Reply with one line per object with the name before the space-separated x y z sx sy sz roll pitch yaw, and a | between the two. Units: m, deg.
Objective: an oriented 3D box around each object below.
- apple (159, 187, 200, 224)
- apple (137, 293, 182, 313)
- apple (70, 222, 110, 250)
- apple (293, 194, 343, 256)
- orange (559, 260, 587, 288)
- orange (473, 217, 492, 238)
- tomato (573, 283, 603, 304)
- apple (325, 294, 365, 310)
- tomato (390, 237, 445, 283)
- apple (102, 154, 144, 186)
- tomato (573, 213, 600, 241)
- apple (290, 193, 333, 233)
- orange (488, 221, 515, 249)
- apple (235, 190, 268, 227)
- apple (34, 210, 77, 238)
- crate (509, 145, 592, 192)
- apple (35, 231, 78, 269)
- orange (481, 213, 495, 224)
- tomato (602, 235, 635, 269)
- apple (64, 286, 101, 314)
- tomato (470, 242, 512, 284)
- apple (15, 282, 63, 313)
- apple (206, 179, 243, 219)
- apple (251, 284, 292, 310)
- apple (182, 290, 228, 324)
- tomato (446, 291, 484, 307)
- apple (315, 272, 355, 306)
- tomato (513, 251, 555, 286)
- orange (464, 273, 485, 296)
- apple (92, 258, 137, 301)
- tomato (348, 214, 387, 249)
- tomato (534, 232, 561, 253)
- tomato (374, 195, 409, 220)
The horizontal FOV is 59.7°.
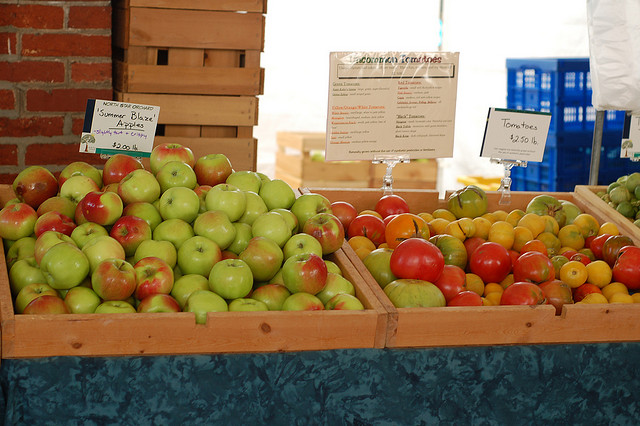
apple | -0.548 -0.033 2.176 0.127 0.141 0.136 0 9 -4
apple | -0.546 0.308 1.888 0.134 0.056 0.098 -5 11 -38
apple | -0.882 0.075 2.139 0.102 0.120 0.104 -21 51 -23
apple | -0.015 0.051 2.383 0.171 0.181 0.346 -6 40 -11
orange | 1.048 0.252 2.304 0.099 0.105 0.100 -24 -10 16
orange | 0.754 0.070 2.591 0.082 0.093 0.087 3 -10 0
tomato | 1.087 0.323 2.280 0.082 0.086 0.085 2 -19 -29
apple | 0.086 0.319 1.960 0.137 0.055 0.066 3 9 5
tomato | 0.364 0.178 2.088 0.164 0.169 0.167 2 24 -3
apple | -0.880 -0.208 2.420 0.136 0.143 0.135 36 12 12
tomato | 1.309 0.062 2.770 0.115 0.121 0.119 36 6 29
apple | -0.032 -0.021 2.389 0.147 0.193 0.164 2 36 1
orange | 0.831 0.106 2.545 0.113 0.117 0.086 5 9 19
apple | -0.273 -0.018 2.297 0.142 0.136 0.130 -7 25 12
apple | -1.023 0.027 2.138 0.106 0.116 0.112 -3 24 -18
crate | 1.945 -0.362 4.746 0.567 0.390 0.606 1 12 11
apple | -0.972 0.121 2.063 0.128 0.146 0.136 0 -17 0
orange | 0.829 0.029 2.741 0.040 0.054 0.043 -3 3 5
tomato | 1.316 0.170 2.469 0.123 0.136 0.130 -2 -3 18
apple | -0.808 0.298 1.892 0.098 0.089 0.090 4 49 12
tomato | 0.697 0.195 2.301 0.162 0.176 0.153 -4 -3 45
apple | -0.976 0.285 1.950 0.104 0.111 0.111 -2 -34 4
apple | -0.389 -0.024 2.280 0.162 0.135 0.162 12 -7 -34
apple | -0.175 0.321 2.063 0.123 0.134 0.129 -1 10 -13
apple | -0.398 0.319 1.904 0.146 0.087 0.104 5 9 17
tomato | 0.548 0.324 2.070 0.136 0.060 0.106 3 9 4
apple | 0.059 0.273 2.052 0.110 0.121 0.115 18 -15 8
tomato | 0.861 0.244 2.298 0.143 0.170 0.169 -3 13 7
orange | 0.621 0.296 2.256 0.071 0.081 0.099 8 11 36
apple | -0.703 0.233 1.913 0.133 0.142 0.109 7 10 28
tomato | 0.224 0.073 2.572 0.141 0.153 0.143 3 7 24
tomato | 1.061 0.129 2.585 0.083 0.099 0.088 -2 9 8
tomato | 0.366 0.000 2.792 0.161 0.169 0.155 2 -18 0
